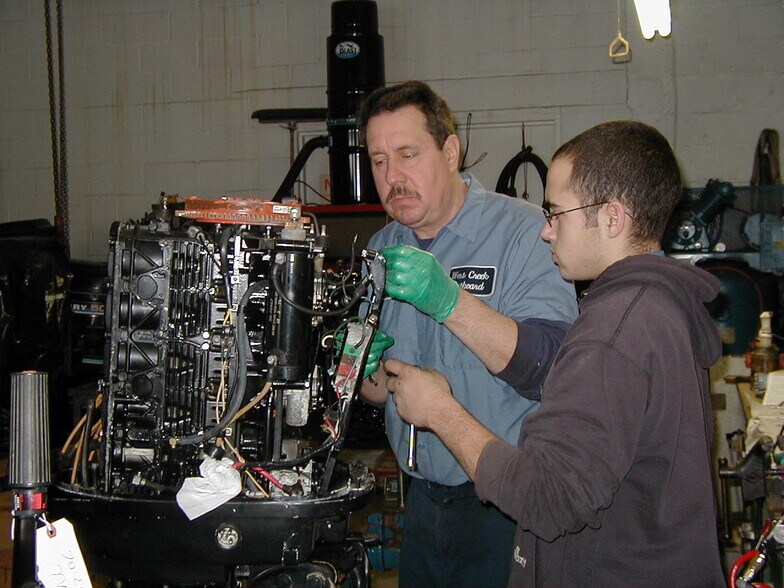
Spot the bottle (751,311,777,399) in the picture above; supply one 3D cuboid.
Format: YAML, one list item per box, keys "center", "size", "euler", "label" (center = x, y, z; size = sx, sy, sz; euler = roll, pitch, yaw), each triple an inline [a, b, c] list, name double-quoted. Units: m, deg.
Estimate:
- center: [2.137, 0.338, 4.528]
  size: [0.154, 0.454, 0.491]
  euler: [-1, 0, 25]
  label: "bottle"

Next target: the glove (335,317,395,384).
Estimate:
- center: [-0.105, 0.208, 3.062]
  size: [0.181, 0.094, 0.252]
  euler: [30, 21, 6]
  label: "glove"
